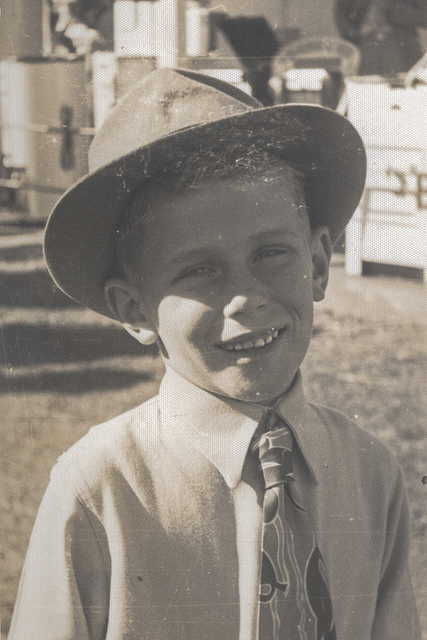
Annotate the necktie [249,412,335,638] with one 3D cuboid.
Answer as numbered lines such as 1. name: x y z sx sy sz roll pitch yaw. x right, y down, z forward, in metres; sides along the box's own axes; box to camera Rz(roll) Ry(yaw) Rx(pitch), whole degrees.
1. necktie: 0.194 0.522 5.069 0.226 0.552 0.096 2 11 1
